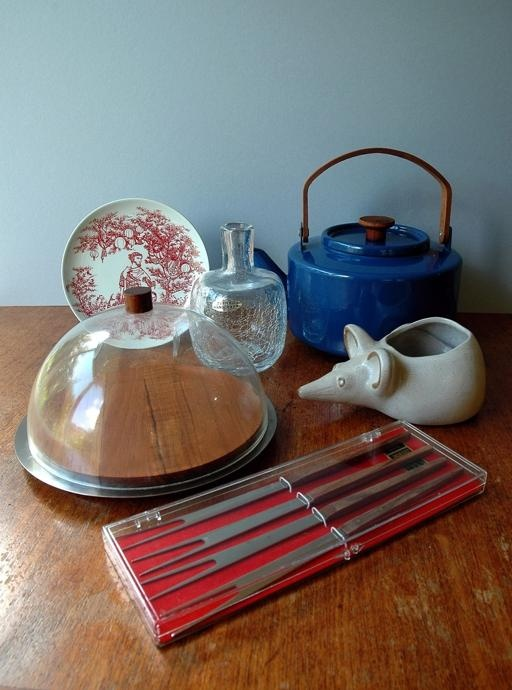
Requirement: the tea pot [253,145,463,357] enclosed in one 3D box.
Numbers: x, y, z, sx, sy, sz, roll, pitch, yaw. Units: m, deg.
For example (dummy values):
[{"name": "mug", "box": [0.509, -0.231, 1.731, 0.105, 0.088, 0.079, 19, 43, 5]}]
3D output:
[{"name": "tea pot", "box": [0.116, -0.122, 0.749, 0.266, 0.208, 0.178, -1, 31, 5]}]
